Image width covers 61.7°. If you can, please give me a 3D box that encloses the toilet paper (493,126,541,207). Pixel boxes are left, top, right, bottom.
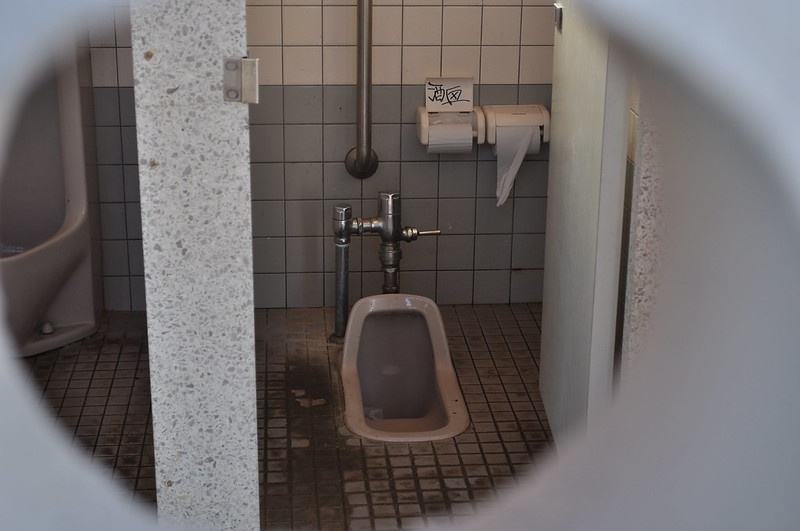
[{"bbox_3d":[0.683,-0.603,3.949,0.402,0.447,0.170,-1,9,-7],"label":"toilet paper"}]

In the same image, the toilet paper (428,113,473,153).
[{"bbox_3d":[0.285,-0.800,3.889,0.284,0.235,0.211,0,36,-1],"label":"toilet paper"}]

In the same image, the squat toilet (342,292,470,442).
[{"bbox_3d":[0.007,0.541,3.407,0.604,0.545,0.761,-2,20,-7],"label":"squat toilet"}]

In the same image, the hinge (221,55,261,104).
[{"bbox_3d":[-0.515,-0.569,2.131,0.114,0.138,0.092,1,-9,-34],"label":"hinge"}]
